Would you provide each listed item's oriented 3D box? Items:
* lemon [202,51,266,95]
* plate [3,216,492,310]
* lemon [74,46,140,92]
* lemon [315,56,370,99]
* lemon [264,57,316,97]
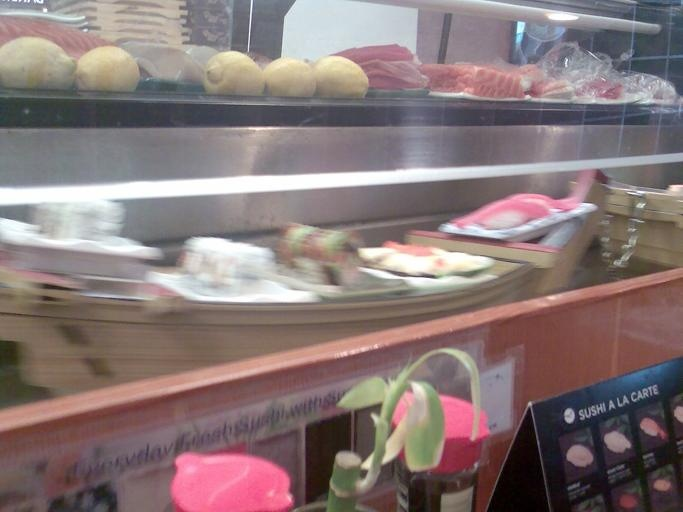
[{"bbox_3d":[-0.120,-0.208,0.578,0.068,0.049,0.023,-7,14,-14],"label":"lemon"},{"bbox_3d":[-0.104,0.008,0.525,0.320,0.054,0.082,-3,19,-26],"label":"plate"},{"bbox_3d":[-0.244,-0.185,0.537,0.051,0.043,0.042,-3,43,-41],"label":"lemon"},{"bbox_3d":[-0.001,-0.209,0.633,0.058,0.049,0.048,3,-3,-22],"label":"lemon"},{"bbox_3d":[-0.062,-0.199,0.596,0.049,0.041,0.048,5,9,22],"label":"lemon"}]
